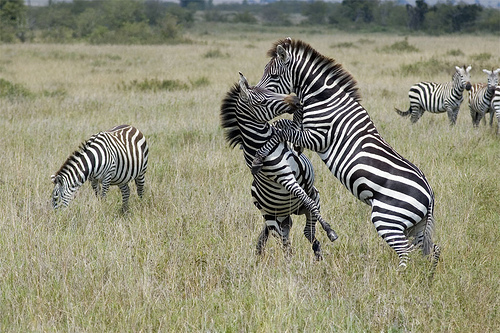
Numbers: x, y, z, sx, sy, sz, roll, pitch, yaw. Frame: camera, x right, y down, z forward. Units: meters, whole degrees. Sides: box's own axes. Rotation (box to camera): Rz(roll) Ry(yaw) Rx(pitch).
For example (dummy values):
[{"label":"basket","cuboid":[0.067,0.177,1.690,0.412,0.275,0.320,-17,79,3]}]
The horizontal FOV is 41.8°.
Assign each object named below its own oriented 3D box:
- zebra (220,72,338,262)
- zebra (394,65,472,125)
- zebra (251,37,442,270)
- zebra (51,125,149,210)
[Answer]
[{"label":"zebra","cuboid":[0.894,0.300,12.720,1.399,3.049,3.844,-17,-26,25]},{"label":"zebra","cuboid":[5.183,-1.849,18.431,2.398,1.699,0.721,2,9,41]},{"label":"zebra","cuboid":[1.858,-0.298,12.537,4.385,2.834,1.346,33,30,25]},{"label":"zebra","cuboid":[-3.130,0.225,13.780,0.854,1.919,2.592,9,13,33]}]
